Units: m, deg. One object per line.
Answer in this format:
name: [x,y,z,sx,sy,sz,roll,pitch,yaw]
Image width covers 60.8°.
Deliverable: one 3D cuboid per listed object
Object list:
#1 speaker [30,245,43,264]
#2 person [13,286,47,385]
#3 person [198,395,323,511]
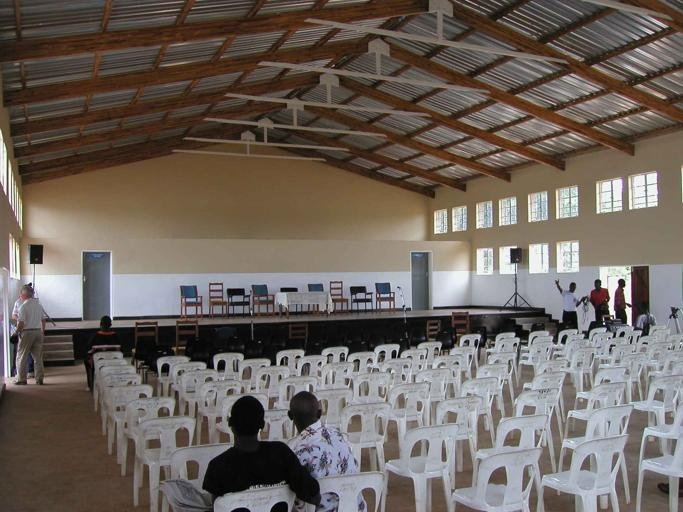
speaker: [-8.604,-0.035,16.317,0.299,0.486,0.256,3,-6,-44]
person: [-5.969,1.526,11.134,0.480,1.912,0.871,1,-5,-28]
person: [-0.645,1.618,4.748,0.801,1.098,0.617,-10,40,-11]
